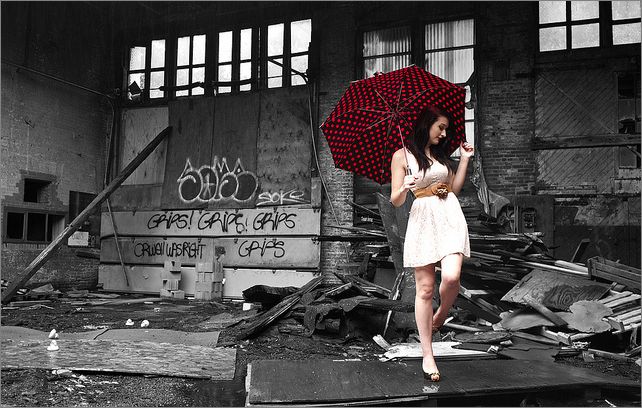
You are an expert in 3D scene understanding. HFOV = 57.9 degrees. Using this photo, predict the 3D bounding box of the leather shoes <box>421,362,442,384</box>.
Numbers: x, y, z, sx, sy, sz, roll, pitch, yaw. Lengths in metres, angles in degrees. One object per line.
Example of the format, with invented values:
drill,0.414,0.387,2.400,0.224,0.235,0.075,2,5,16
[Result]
leather shoes,1.538,2.383,8.144,0.212,0.149,0.409,-1,-10,-6

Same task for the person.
person,1.577,0.554,8.213,1.151,3.871,0.585,0,-4,6
